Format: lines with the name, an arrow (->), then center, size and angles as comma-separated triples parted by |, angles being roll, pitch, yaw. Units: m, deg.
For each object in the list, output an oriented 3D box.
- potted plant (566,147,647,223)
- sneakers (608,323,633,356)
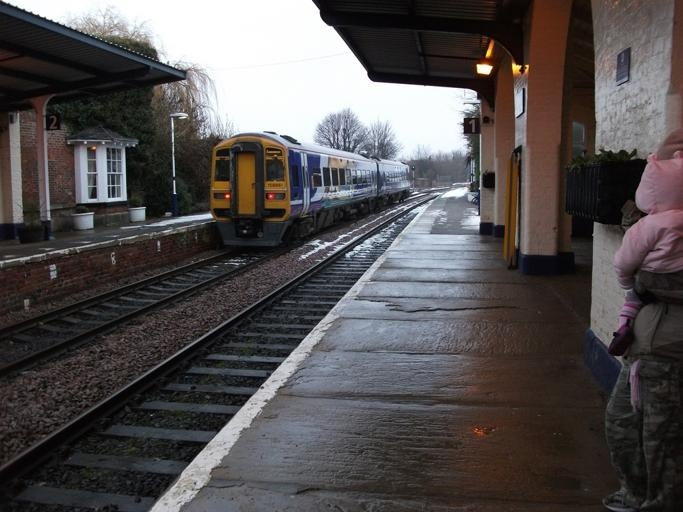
potted plant -> 2.588, -0.698, 4.465 | 0.700, 0.657, 1.079 | 5, 7, 10
sneakers -> 1.600, 0.479, 2.780 | 0.071, 0.151, 0.211 | 11, 56, 50
